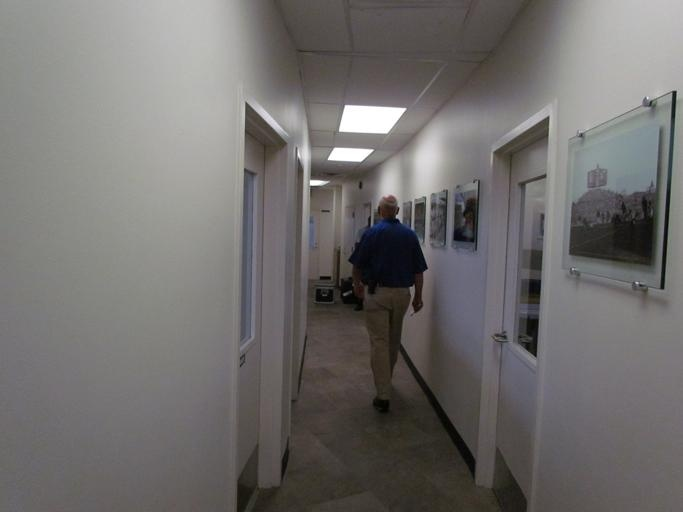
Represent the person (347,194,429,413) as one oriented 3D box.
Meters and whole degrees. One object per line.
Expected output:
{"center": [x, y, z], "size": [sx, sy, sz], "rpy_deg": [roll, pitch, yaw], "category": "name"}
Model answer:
{"center": [0.386, 0.373, 4.097], "size": [0.645, 1.753, 0.460], "rpy_deg": [1, 4, -2], "category": "person"}
